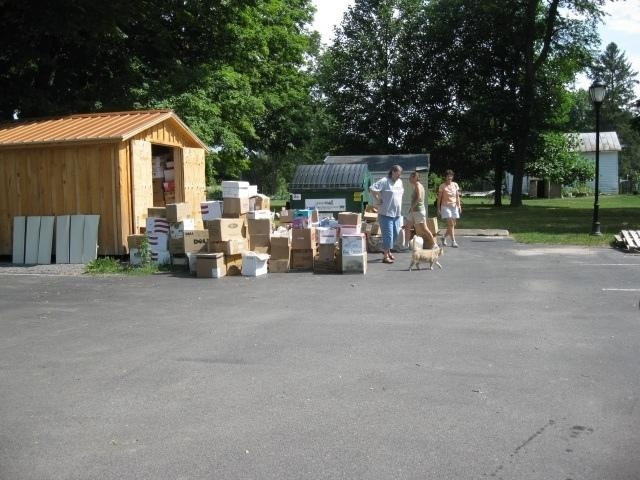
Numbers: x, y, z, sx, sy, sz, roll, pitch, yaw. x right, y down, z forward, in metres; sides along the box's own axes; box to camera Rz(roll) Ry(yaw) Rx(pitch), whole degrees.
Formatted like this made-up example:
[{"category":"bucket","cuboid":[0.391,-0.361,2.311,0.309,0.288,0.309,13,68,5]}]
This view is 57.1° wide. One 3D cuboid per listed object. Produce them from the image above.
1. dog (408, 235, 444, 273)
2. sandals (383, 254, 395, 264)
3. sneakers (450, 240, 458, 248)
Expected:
[{"category":"dog","cuboid":[2.424,0.303,13.591,0.982,0.758,0.561,-4,6,-32]},{"category":"sandals","cuboid":[1.734,0.474,14.815,0.179,0.226,0.533,-1,-3,2]},{"category":"sneakers","cuboid":[4.166,0.108,18.148,0.157,0.187,0.414,-4,-1,-1]}]
